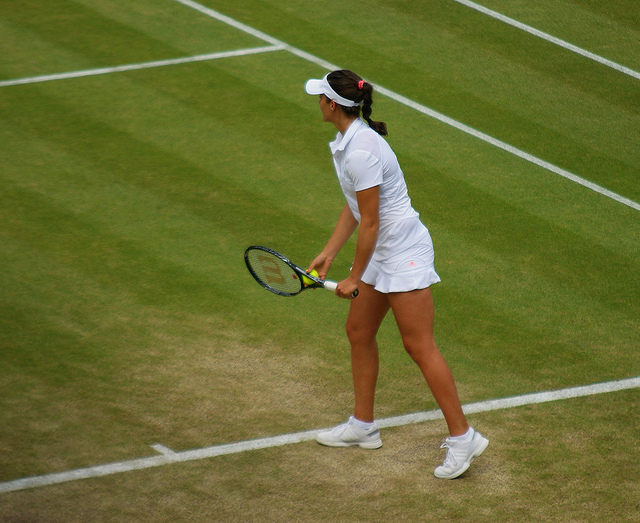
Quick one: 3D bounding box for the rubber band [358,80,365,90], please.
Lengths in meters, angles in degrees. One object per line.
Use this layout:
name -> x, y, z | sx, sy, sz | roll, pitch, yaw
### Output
rubber band -> 0.299, -1.239, 7.285 | 0.023, 0.053, 0.044 | 4, 2, 13

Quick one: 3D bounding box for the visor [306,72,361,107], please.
visor -> 0.084, -1.212, 7.345 | 0.390, 0.198, 0.154 | 17, 29, 26

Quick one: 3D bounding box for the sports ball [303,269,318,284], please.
sports ball -> -0.059, 0.107, 7.623 | 0.114, 0.069, 0.102 | 15, 12, -5
